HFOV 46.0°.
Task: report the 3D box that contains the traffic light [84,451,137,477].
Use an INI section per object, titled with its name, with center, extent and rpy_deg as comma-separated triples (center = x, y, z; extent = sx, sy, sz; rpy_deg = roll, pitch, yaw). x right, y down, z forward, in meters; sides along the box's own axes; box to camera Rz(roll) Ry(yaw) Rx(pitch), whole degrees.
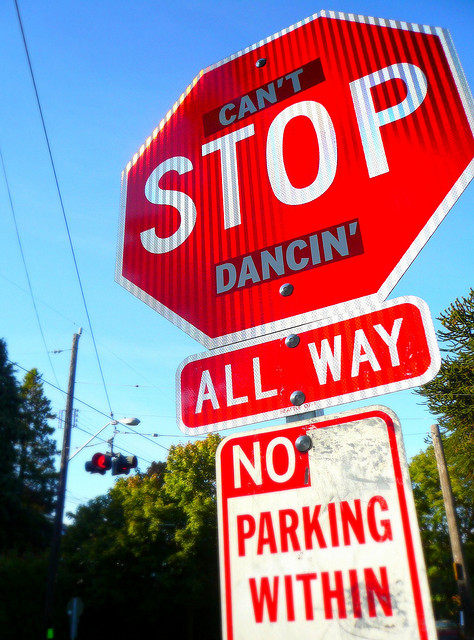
[traffic light]
center = -2.946, 3.295, 12.982
extent = 0.416, 0.576, 1.283
rpy_deg = -18, -33, 26
